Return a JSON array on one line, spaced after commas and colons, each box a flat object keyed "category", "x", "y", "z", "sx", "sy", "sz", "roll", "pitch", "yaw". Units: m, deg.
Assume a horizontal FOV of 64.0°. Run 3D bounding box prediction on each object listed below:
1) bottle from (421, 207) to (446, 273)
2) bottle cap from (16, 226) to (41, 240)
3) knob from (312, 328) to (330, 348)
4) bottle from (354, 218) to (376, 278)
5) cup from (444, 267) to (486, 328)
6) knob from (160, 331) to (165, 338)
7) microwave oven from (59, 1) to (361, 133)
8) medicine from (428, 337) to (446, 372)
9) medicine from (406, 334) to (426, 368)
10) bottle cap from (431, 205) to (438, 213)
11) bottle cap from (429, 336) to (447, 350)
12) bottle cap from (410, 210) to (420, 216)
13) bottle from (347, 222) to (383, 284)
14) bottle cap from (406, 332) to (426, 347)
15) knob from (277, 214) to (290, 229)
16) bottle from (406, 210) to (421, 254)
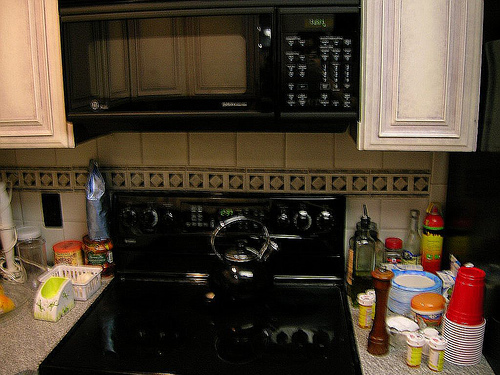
[{"category": "bottle", "x": 0.737, "y": 0.213, "z": 1.612, "sx": 0.068, "sy": 0.259, "sz": 0.056, "roll": -11, "pitch": 14, "yaw": -33}, {"category": "bottle cap", "x": -1.001, "y": 0.205, "z": 1.813, "sx": 0.091, "sy": 0.045, "sz": 0.099, "roll": -9, "pitch": 13, "yaw": -25}, {"category": "knob", "x": 0.241, "y": 0.512, "z": 1.349, "sx": 0.030, "sy": 0.012, "sz": 0.040, "roll": -2, "pitch": 14, "yaw": 2}, {"category": "bottle", "x": 0.440, "y": 0.233, "z": 1.528, "sx": 0.070, "sy": 0.220, "sz": 0.074, "roll": -3, "pitch": 12, "yaw": 1}, {"category": "cup", "x": 0.698, "y": 0.354, "z": 1.287, "sx": 0.130, "sy": 0.157, "sz": 0.126, "roll": 3, "pitch": 8, "yaw": 0}, {"category": "knob", "x": -0.298, "y": 0.505, "z": 1.362, "sx": 0.010, "sy": 0.009, "sz": 0.017, "roll": 0, "pitch": 22, "yaw": -5}, {"category": "microwave oven", "x": -0.107, "y": -0.460, "z": 1.617, "sx": 0.887, "sy": 0.430, "sz": 0.562, "roll": 2, "pitch": 19, "yaw": 7}, {"category": "medicine", "x": 0.577, "y": 0.518, "z": 1.236, "sx": 0.045, "sy": 0.092, "sz": 0.054, "roll": 2, "pitch": 13, "yaw": 25}, {"category": "medicine", "x": 0.521, "y": 0.511, "z": 1.250, "sx": 0.066, "sy": 0.089, "sz": 0.058, "roll": -1, "pitch": 12, "yaw": 10}, {"category": "bottle cap", "x": 0.749, "y": 0.089, "z": 1.612, "sx": 0.021, "sy": 0.025, "sz": 0.033, "roll": 8, "pitch": 16, "yaw": 42}, {"category": "bottle cap", "x": 0.574, "y": 0.479, "z": 1.224, "sx": 0.039, "sy": 0.013, "sz": 0.036, "roll": -3, "pitch": 10, "yaw": -16}, {"category": "bottle cap", "x": 0.683, "y": 0.107, "z": 1.657, "sx": 0.032, "sy": 0.025, "sz": 0.046, "roll": 1, "pitch": 13, "yaw": 16}, {"category": "bottle", "x": 0.483, "y": 0.291, "z": 1.602, "sx": 0.136, "sy": 0.215, "sz": 0.139, "roll": 3, "pitch": -6, "yaw": 0}, {"category": "bottle cap", "x": 0.520, "y": 0.466, "z": 1.252, "sx": 0.041, "sy": 0.039, "sz": 0.042, "roll": 7, "pitch": 13, "yaw": 40}, {"category": "knob", "x": 0.137, "y": 0.143, "z": 1.651, "sx": 0.045, "sy": 0.055, "sz": 0.019, "roll": 4, "pitch": 8, "yaw": 4}, {"category": "bottle", "x": 0.686, "y": 0.185, "z": 1.670, "sx": 0.055, "sy": 0.181, "sz": 0.085, "roll": 2, "pitch": 13, "yaw": 24}]
